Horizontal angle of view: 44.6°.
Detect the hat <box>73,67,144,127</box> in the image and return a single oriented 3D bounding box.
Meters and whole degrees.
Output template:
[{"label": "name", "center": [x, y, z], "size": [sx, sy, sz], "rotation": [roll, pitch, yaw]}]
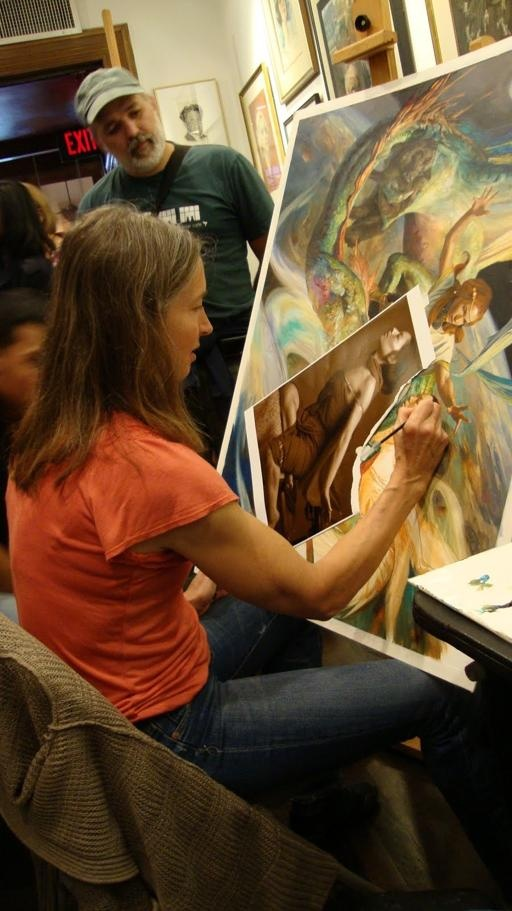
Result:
[{"label": "hat", "center": [-0.419, -1.023, 1.738], "size": [0.197, 0.096, 0.177], "rotation": [-25, 16, -6]}]
